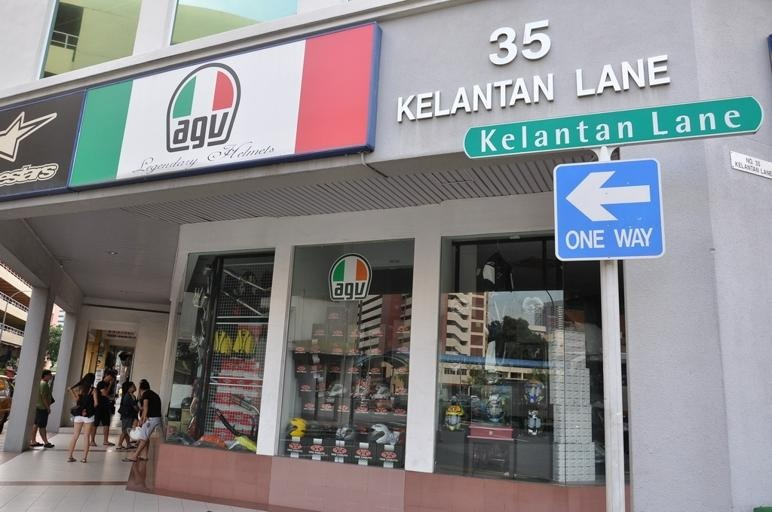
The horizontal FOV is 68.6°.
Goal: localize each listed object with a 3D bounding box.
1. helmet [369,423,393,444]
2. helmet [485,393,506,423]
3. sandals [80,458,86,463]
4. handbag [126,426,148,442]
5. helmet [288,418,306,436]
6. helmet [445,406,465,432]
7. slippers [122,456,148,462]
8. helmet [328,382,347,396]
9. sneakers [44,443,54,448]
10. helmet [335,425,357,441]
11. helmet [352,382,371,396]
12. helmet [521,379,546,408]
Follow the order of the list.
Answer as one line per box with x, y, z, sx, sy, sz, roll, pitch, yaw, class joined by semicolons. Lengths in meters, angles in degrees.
-0.061;2.440;7.725;0.291;0.229;0.213;-21;-16;30;helmet
1.430;1.968;7.294;0.249;0.338;0.127;0;-8;17;helmet
-5.861;3.982;10.947;0.053;0.059;0.154;7;-4;-35;sandals
-4.794;3.427;10.908;0.240;0.264;0.576;16;-23;-37;handbag
-1.306;2.496;8.225;0.274;0.239;0.211;3;-13;33;helmet
0.906;2.123;7.423;0.267;0.291;0.302;-1;-15;10;helmet
-4.958;4.021;11.154;0.506;0.069;0.241;4;-9;-7;slippers
-0.693;1.921;8.139;0.265;0.185;0.173;1;-4;-11;helmet
-7.493;4.225;12.572;0.239;0.105;0.080;5;-6;0;sneakers
-0.550;2.500;7.926;0.242;0.196;0.101;2;0;27;helmet
-0.340;1.890;7.962;0.179;0.242;0.090;5;6;28;helmet
1.901;1.753;7.192;0.282;0.295;0.323;1;-6;9;helmet
